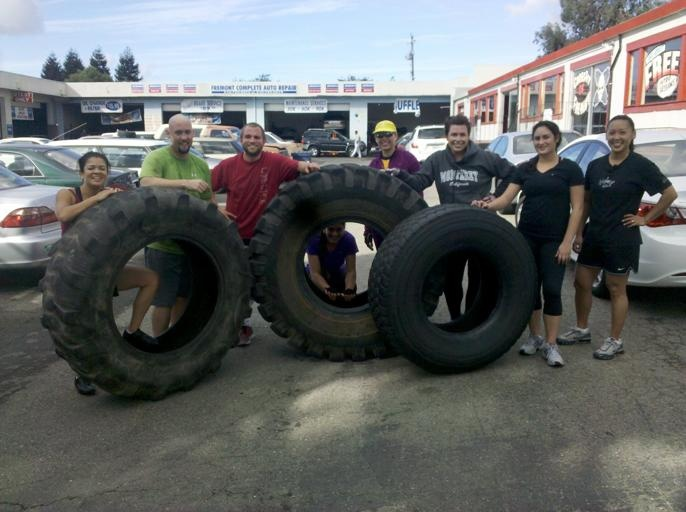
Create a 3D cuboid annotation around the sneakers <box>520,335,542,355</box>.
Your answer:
[{"bbox_3d":[1.729,0.818,4.544,0.297,0.137,0.105,-18,12,-38],"label":"sneakers"}]

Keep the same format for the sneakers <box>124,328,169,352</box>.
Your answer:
[{"bbox_3d":[-1.698,0.722,4.218,0.228,0.102,0.081,28,16,-12],"label":"sneakers"}]

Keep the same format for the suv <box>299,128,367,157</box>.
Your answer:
[{"bbox_3d":[-0.712,-8.652,36.930,4.522,2.306,2.252,-3,25,-1],"label":"suv"}]

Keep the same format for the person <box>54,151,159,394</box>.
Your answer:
[{"bbox_3d":[-2.002,0.084,4.152,0.722,1.894,0.900,-9,14,-32],"label":"person"}]

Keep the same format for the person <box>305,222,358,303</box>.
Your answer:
[{"bbox_3d":[-0.113,0.056,5.268,0.522,0.804,0.265,-4,10,-13],"label":"person"}]

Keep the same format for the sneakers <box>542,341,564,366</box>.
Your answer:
[{"bbox_3d":[1.834,0.848,4.311,0.091,0.114,0.269,-2,13,1],"label":"sneakers"}]

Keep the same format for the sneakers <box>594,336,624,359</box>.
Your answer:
[{"bbox_3d":[2.383,0.820,4.463,0.374,0.194,0.135,-3,5,-33],"label":"sneakers"}]

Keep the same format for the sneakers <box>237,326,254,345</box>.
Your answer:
[{"bbox_3d":[-0.975,0.789,4.911,0.106,0.145,0.310,-1,1,17],"label":"sneakers"}]

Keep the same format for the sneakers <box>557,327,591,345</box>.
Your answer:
[{"bbox_3d":[2.220,0.751,4.744,0.357,0.193,0.151,0,1,-1],"label":"sneakers"}]

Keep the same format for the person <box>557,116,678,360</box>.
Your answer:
[{"bbox_3d":[2.490,-0.205,4.493,0.797,2.106,0.618,-9,14,-35],"label":"person"}]
